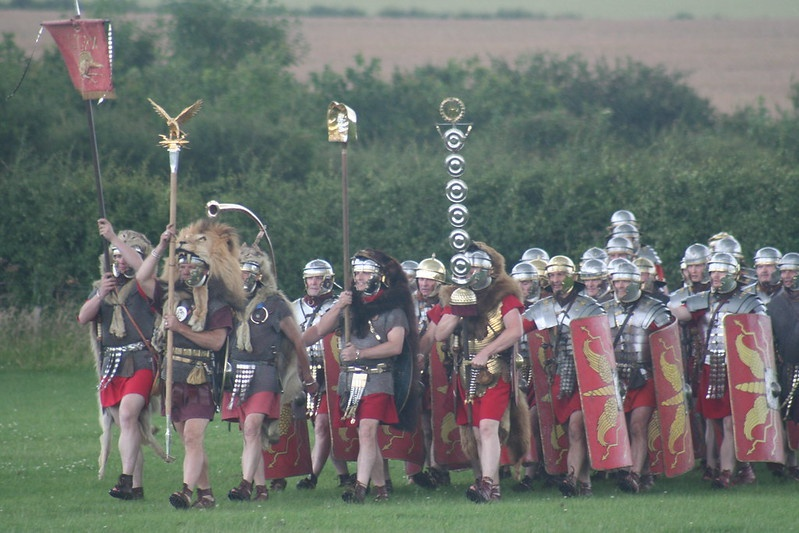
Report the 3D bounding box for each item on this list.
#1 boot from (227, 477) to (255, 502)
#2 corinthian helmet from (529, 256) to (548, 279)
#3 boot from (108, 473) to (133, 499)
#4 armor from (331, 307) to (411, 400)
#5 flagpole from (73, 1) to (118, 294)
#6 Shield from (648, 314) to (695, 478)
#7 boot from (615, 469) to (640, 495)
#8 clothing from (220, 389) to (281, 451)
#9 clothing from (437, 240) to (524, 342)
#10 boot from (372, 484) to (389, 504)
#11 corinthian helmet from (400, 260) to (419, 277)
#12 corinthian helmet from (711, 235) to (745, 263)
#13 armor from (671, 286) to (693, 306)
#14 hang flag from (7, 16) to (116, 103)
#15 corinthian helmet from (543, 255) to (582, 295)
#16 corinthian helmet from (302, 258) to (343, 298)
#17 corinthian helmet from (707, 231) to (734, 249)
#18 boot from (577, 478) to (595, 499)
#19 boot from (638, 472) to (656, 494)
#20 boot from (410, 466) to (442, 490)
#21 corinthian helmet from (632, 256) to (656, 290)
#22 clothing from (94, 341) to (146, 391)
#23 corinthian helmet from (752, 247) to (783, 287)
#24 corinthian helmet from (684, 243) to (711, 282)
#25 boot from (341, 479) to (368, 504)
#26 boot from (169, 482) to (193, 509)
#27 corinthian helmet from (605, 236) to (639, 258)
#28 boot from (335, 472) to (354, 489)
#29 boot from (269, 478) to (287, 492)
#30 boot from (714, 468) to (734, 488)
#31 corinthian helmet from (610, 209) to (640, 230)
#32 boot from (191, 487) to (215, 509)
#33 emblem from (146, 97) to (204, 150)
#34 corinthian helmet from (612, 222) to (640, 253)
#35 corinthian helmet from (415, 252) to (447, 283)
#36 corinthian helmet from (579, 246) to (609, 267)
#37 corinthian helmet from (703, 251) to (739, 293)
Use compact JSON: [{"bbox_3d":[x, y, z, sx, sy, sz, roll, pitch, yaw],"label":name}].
[{"bbox_3d":[-3.379,4.929,56.155,0.372,0.260,0.605,15,-9,7],"label":"boot"},{"bbox_3d":[3.083,0.100,58.461,0.477,0.279,0.375,0,0,3],"label":"corinthian helmet"},{"bbox_3d":[-5.932,4.837,56.230,0.496,0.520,0.370,-1,-13,-3],"label":"boot"},{"bbox_3d":[-0.548,1.944,56.490,2.237,1.819,1.276,0,-13,31],"label":"armor"},{"bbox_3d":[-7.407,-2.491,64.159,0.325,8.169,0.424,-2,5,23],"label":"flagpole"},{"bbox_3d":[5.753,2.959,56.878,0.893,3.338,0.788,-3,-14,4],"label":"Shield"},{"bbox_3d":[4.948,4.763,56.949,0.443,0.299,0.592,-5,-1,20],"label":"boot"},{"bbox_3d":[-3.158,3.378,56.594,1.573,1.257,0.892,9,10,28],"label":"clothing"},{"bbox_3d":[1.792,0.516,56.127,1.844,1.953,0.971,-1,-10,29],"label":"clothing"},{"bbox_3d":[-0.419,4.997,56.427,0.440,0.361,0.246,-3,-5,26],"label":"boot"},{"bbox_3d":[0.217,0.120,58.982,0.345,0.295,0.385,2,16,4],"label":"corinthian helmet"},{"bbox_3d":[7.211,-0.326,58.288,0.636,0.490,0.658,0,17,-21],"label":"corinthian helmet"},{"bbox_3d":[6.165,0.721,58.160,0.524,0.147,0.347,-23,21,-14],"label":"armor"},{"bbox_3d":[-7.360,-4.337,55.943,2.927,1.793,0.263,-8,8,-44],"label":"hang flag"},{"bbox_3d":[3.547,0.278,57.537,0.805,0.872,0.929,-5,-9,22],"label":"corinthian helmet"},{"bbox_3d":[-1.652,0.306,58.241,0.981,0.712,0.718,2,4,-12],"label":"corinthian helmet"},{"bbox_3d":[7.159,-0.535,59.006,0.613,0.299,0.486,-4,3,-10],"label":"corinthian helmet"},{"bbox_3d":[3.956,4.920,56.672,0.370,0.372,0.973,2,-8,-9],"label":"boot"},{"bbox_3d":[5.286,4.806,56.933,0.556,0.407,1.078,0,-2,-1],"label":"boot"},{"bbox_3d":[0.537,4.775,57.634,0.672,0.388,0.375,15,-15,19],"label":"boot"},{"bbox_3d":[5.372,0.236,57.848,0.601,0.612,0.703,1,4,22],"label":"corinthian helmet"},{"bbox_3d":[-6.042,2.270,56.660,1.222,0.845,1.031,8,-14,-22],"label":"clothing"},{"bbox_3d":[8.224,0.074,58.320,0.739,0.823,0.981,-8,-7,33],"label":"corinthian helmet"},{"bbox_3d":[6.452,-0.008,58.076,0.751,0.800,0.906,-4,5,3],"label":"corinthian helmet"},{"bbox_3d":[-0.987,4.964,56.266,0.639,0.357,0.371,7,-3,-9],"label":"boot"},{"bbox_3d":[-4.628,5.003,55.795,0.474,0.563,0.271,0,-14,-6],"label":"boot"},{"bbox_3d":[4.872,-0.370,58.441,0.493,0.438,0.586,-6,-12,37],"label":"corinthian helmet"},{"bbox_3d":[-1.204,4.802,57.568,0.341,0.232,0.355,4,-8,-24],"label":"boot"},{"bbox_3d":[-2.635,4.873,57.403,0.397,0.420,0.269,1,-1,24],"label":"boot"},{"bbox_3d":[6.972,4.750,56.993,0.333,0.416,0.442,-8,-14,25],"label":"boot"},{"bbox_3d":[5.032,-1.005,59.786,0.636,0.355,0.566,0,-2,-1],"label":"corinthian helmet"},{"bbox_3d":[-4.123,5.089,56.197,0.376,0.317,0.526,-5,-12,25],"label":"boot"},{"bbox_3d":[-4.770,-2.988,56.539,1.246,0.951,0.652,-4,-3,31],"label":"emblem"},{"bbox_3d":[5.137,-0.613,59.417,0.700,0.628,0.699,-1,-9,2],"label":"corinthian helmet"},{"bbox_3d":[0.690,0.103,57.924,0.733,0.464,0.625,4,-4,1],"label":"corinthian helmet"},{"bbox_3d":[4.238,-0.140,57.594,0.514,0.381,0.461,0,-7,5],"label":"corinthian helmet"},{"bbox_3d":[7.147,0.206,57.514,1.035,0.813,0.941,4,3,12],"label":"corinthian helmet"}]
